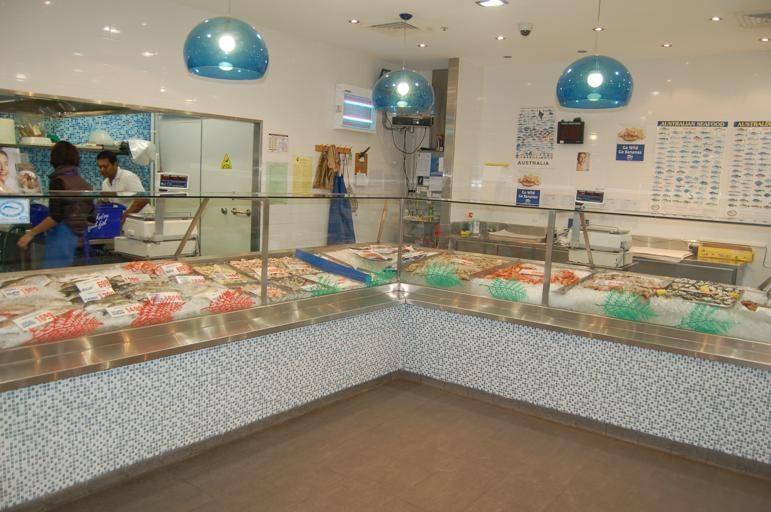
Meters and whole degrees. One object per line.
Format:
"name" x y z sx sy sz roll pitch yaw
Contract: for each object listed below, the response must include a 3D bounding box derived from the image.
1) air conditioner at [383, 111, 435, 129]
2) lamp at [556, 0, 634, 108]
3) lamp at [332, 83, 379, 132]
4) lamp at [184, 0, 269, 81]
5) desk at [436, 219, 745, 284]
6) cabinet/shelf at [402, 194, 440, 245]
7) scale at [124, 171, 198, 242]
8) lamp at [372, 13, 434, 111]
"air conditioner" 0.359 -2.155 7.840 0.828 0.230 0.813 2 11 2
"lamp" 1.716 -1.427 4.008 0.551 0.380 0.451 7 13 23
"lamp" -0.436 -2.230 7.438 0.278 0.668 0.774 11 15 33
"lamp" -1.162 -1.512 3.531 0.542 0.363 0.533 -2 13 -20
"desk" 1.517 -0.078 3.908 2.241 0.322 0.344 8 13 28
"cabinet/shelf" 0.341 -0.283 4.581 0.319 0.458 0.271 3 5 -16
"scale" -1.482 -0.436 3.286 0.370 0.178 0.224 11 21 -35
"lamp" 0.162 -1.773 4.562 0.667 0.817 0.612 10 27 22
